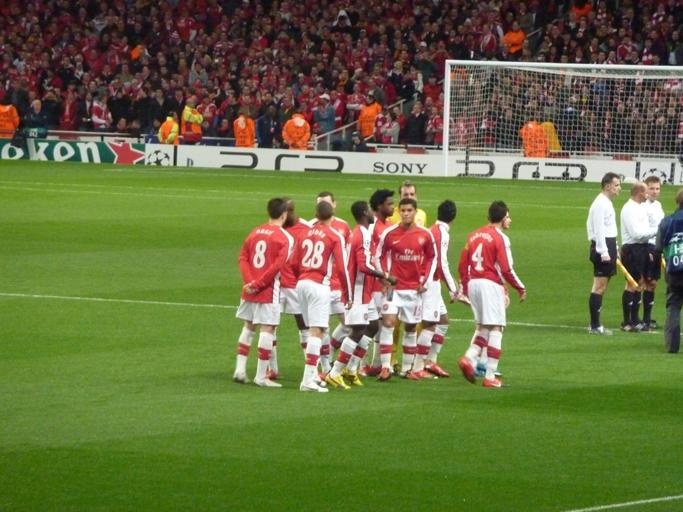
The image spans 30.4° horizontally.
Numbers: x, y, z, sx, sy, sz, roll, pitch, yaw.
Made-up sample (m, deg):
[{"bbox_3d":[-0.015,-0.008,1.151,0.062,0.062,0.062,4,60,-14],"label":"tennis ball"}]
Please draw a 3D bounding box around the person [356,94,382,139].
[{"bbox_3d":[0.754,-3.581,34.579,0.652,1.643,0.502,3,22,7],"label":"person"}]

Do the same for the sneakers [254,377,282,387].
[{"bbox_3d":[-0.897,1.514,15.140,0.367,0.146,0.123,-1,0,-3],"label":"sneakers"}]

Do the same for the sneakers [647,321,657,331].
[{"bbox_3d":[4.582,1.012,18.505,0.082,0.099,0.237,4,10,20],"label":"sneakers"}]

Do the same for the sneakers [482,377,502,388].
[{"bbox_3d":[1.824,1.516,15.192,0.166,0.075,0.120,-2,8,-15],"label":"sneakers"}]

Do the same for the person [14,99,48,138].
[{"bbox_3d":[-9.076,-3.982,36.996,0.707,1.049,0.742,1,3,11],"label":"person"}]

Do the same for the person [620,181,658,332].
[{"bbox_3d":[4.334,0.010,18.431,0.509,2.161,0.464,-1,3,-22],"label":"person"}]

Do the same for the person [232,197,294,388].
[{"bbox_3d":[-0.962,0.427,15.188,0.688,2.256,0.628,0,3,-13],"label":"person"}]

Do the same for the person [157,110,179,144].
[{"bbox_3d":[-4.914,-3.591,35.588,0.589,0.935,1.027,0,3,-8],"label":"person"}]

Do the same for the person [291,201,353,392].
[{"bbox_3d":[-0.237,0.475,15.055,0.710,2.241,0.685,0,3,-4],"label":"person"}]

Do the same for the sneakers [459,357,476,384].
[{"bbox_3d":[1.502,1.368,15.198,0.169,0.388,0.137,0,-18,-30],"label":"sneakers"}]

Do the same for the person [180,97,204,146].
[{"bbox_3d":[-4.221,-3.499,35.606,0.638,1.752,0.629,3,18,13],"label":"person"}]

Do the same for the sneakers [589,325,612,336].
[{"bbox_3d":[3.734,1.069,18.088,0.376,0.155,0.127,-1,7,-8],"label":"sneakers"}]

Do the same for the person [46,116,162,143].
[{"bbox_3d":[-6.968,-3.564,36.777,3.671,0.592,1.040,2,3,27],"label":"person"}]

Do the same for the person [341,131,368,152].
[{"bbox_3d":[0.364,-3.104,34.631,0.588,0.528,1.107,0,3,-13],"label":"person"}]

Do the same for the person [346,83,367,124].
[{"bbox_3d":[0.314,-4.049,35.339,0.493,1.508,0.436,3,27,-10],"label":"person"}]

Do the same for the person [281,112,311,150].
[{"bbox_3d":[-1.263,-3.410,34.601,0.751,1.003,0.935,0,3,-4],"label":"person"}]

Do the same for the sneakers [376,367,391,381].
[{"bbox_3d":[0.540,1.476,15.655,0.087,0.108,0.239,3,-18,-5],"label":"sneakers"}]

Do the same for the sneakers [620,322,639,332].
[{"bbox_3d":[4.227,1.048,18.408,0.103,0.116,0.251,1,-3,-35],"label":"sneakers"}]

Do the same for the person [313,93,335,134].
[{"bbox_3d":[-0.491,-3.880,35.088,0.628,1.049,0.426,1,3,10],"label":"person"}]

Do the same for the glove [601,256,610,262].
[{"bbox_3d":[3.791,0.045,17.976,0.080,0.057,0.080,-3,11,-3],"label":"glove"}]

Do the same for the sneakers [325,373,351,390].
[{"bbox_3d":[-0.043,1.508,15.225,0.284,0.120,0.160,10,4,17],"label":"sneakers"}]

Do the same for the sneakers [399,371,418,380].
[{"bbox_3d":[0.859,1.491,15.760,0.178,0.072,0.096,-4,-2,35],"label":"sneakers"}]

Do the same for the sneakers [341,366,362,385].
[{"bbox_3d":[0.129,1.468,15.497,0.336,0.145,0.124,21,13,26],"label":"sneakers"}]

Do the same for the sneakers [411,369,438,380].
[{"bbox_3d":[1.035,1.486,15.810,0.342,0.135,0.118,-2,2,10],"label":"sneakers"}]

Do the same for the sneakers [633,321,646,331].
[{"bbox_3d":[4.368,1.020,18.398,0.152,0.108,0.118,1,3,11],"label":"sneakers"}]

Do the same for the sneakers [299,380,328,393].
[{"bbox_3d":[-0.347,1.539,14.922,0.395,0.158,0.127,-2,3,4],"label":"sneakers"}]

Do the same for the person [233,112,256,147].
[{"bbox_3d":[-2.722,-3.492,35.148,0.620,0.963,0.802,0,3,-5],"label":"person"}]

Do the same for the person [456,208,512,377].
[{"bbox_3d":[1.850,0.453,15.424,0.780,2.213,0.745,1,3,5],"label":"person"}]

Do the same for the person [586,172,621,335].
[{"bbox_3d":[3.774,-0.042,18.151,0.424,2.300,0.473,1,3,10],"label":"person"}]
